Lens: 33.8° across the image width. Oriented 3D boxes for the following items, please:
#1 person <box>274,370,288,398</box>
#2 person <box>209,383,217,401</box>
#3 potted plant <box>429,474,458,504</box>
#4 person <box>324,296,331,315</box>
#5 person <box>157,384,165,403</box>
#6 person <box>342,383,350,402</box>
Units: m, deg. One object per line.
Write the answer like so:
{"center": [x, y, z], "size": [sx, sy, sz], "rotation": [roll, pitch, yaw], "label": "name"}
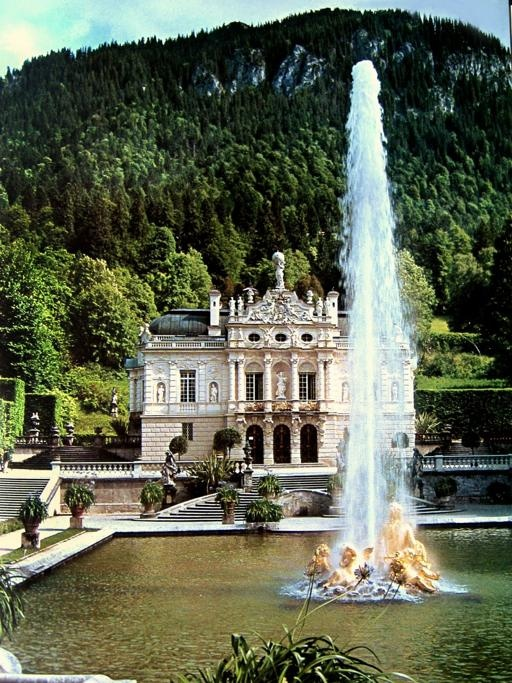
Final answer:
{"center": [1.560, 2.788, 53.753], "size": [0.724, 1.747, 0.705], "rotation": [0, -5, 1], "label": "person"}
{"center": [-2.699, 3.210, 53.693], "size": [0.511, 1.305, 0.225], "rotation": [1, -5, -5], "label": "person"}
{"center": [9.564, 7.490, 42.622], "size": [1.218, 1.671, 1.357], "rotation": [-1, 0, -13], "label": "potted plant"}
{"center": [4.597, -2.212, 54.773], "size": [0.343, 1.359, 0.923], "rotation": [0, -5, 4], "label": "person"}
{"center": [-6.011, 3.154, 53.418], "size": [0.581, 1.129, 0.191], "rotation": [1, -5, -16], "label": "person"}
{"center": [5.776, 3.268, 54.692], "size": [0.398, 1.158, 0.264], "rotation": [-2, -5, 23], "label": "person"}
